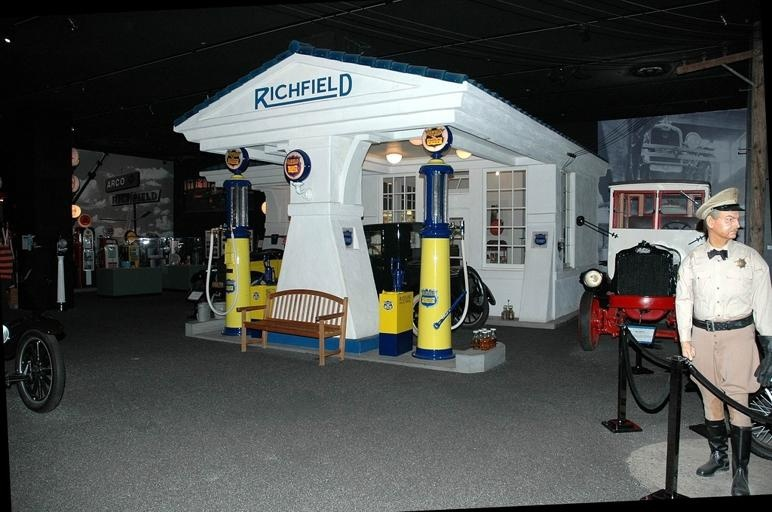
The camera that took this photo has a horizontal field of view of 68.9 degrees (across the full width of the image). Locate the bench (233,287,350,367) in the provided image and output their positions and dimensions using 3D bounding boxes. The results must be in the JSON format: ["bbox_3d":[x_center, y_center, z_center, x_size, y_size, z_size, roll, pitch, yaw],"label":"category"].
[{"bbox_3d":[-1.719,1.171,9.924,2.280,1.163,0.830,8,15,32],"label":"bench"}]

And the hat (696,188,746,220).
[{"bbox_3d":[3.629,-0.576,6.119,0.379,0.218,0.418,-5,4,-43],"label":"hat"}]

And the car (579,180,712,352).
[{"bbox_3d":[4.520,-0.021,10.823,2.527,2.421,3.533,0,1,34],"label":"car"}]

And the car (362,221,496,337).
[{"bbox_3d":[0.797,0.509,11.260,2.438,2.307,3.314,-1,13,-3],"label":"car"}]

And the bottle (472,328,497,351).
[{"bbox_3d":[1.613,1.322,9.273,0.345,0.324,0.348,4,10,17],"label":"bottle"}]
